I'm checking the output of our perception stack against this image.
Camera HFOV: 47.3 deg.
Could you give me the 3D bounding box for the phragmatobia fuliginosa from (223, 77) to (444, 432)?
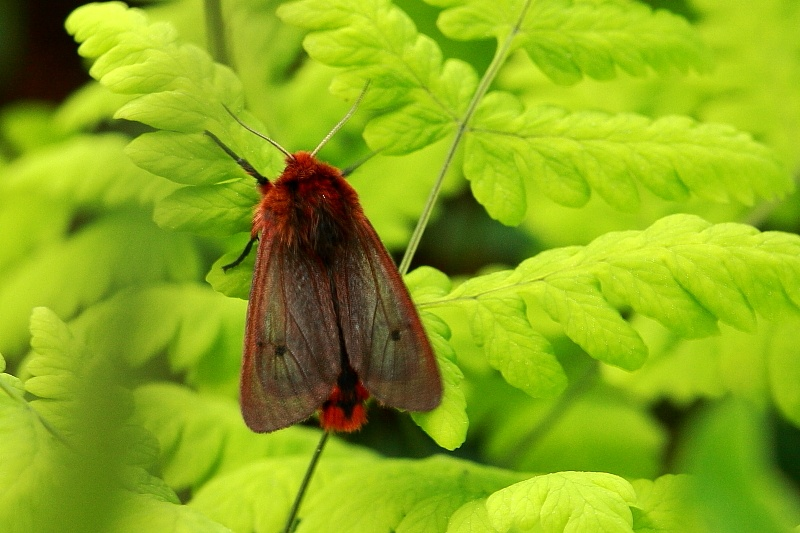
[{"bbox_3d":[-0.401,0.057,5.391,0.997,1.802,2.074,0,86,-8],"label":"phragmatobia fuliginosa"}]
